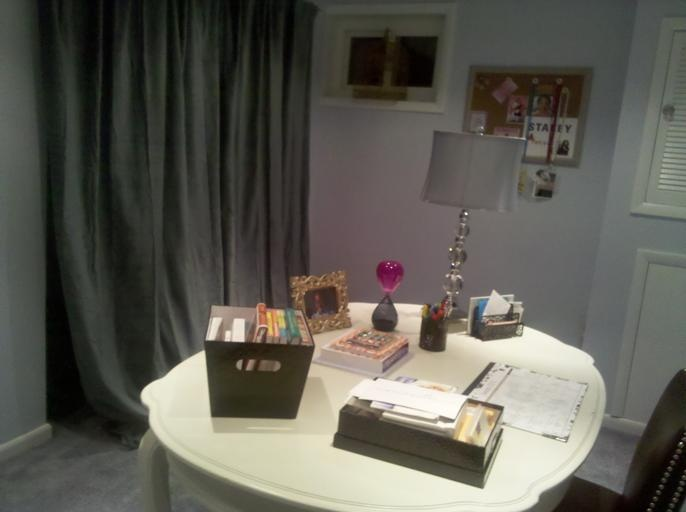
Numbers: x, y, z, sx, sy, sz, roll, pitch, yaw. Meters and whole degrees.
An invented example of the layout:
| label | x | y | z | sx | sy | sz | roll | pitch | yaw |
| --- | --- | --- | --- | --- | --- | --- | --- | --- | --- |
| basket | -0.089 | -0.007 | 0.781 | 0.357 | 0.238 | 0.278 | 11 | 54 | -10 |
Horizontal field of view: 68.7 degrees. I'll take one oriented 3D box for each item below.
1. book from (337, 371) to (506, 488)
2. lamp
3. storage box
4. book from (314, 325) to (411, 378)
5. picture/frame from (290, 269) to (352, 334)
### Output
| label | x | y | z | sx | sy | sz | roll | pitch | yaw |
| --- | --- | --- | --- | --- | --- | --- | --- | --- | --- |
| book | 0.220 | 0.474 | 1.414 | 0.342 | 0.122 | 0.256 | 9 | 20 | 20 |
| lamp | 0.547 | -0.143 | 2.194 | 0.367 | 0.766 | 0.294 | -2 | 16 | -16 |
| storage box | -0.262 | 0.321 | 1.570 | 0.293 | 0.299 | 0.216 | 6 | 30 | -15 |
| book | 0.092 | 0.341 | 1.861 | 0.177 | 0.049 | 0.199 | 9 | 18 | 30 |
| picture/frame | -0.094 | 0.191 | 2.057 | 0.236 | 0.227 | 0.019 | -6 | -2 | -39 |
